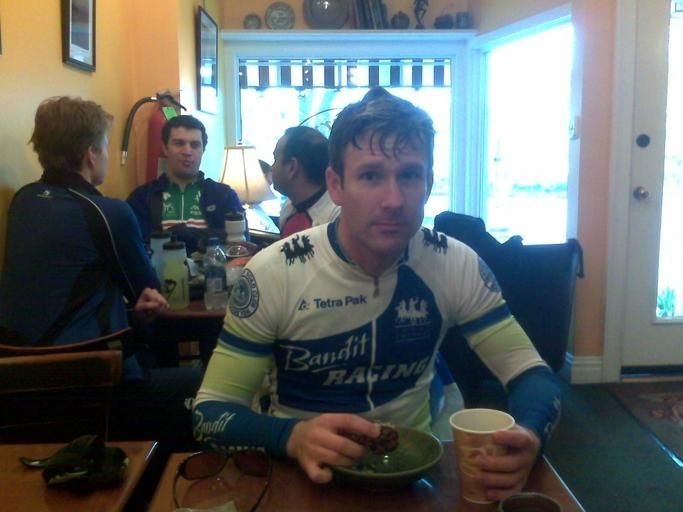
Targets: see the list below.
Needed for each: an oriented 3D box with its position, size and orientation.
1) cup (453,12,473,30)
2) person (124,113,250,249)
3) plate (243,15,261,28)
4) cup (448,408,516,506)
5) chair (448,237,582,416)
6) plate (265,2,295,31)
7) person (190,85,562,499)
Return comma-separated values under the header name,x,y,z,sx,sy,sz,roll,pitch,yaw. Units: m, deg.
name,x,y,z,sx,sy,sz,roll,pitch,yaw
cup,1.050,-2.019,5.001,0.153,0.167,0.131,0,10,13
person,-0.994,-0.353,3.663,0.734,1.040,0.534,-2,2,-26
plate,-0.777,-2.026,5.046,0.119,0.129,0.028,-5,12,-7
cup,0.302,0.450,1.339,0.170,0.202,0.177,0,-7,0
chair,0.925,0.328,3.296,0.818,1.142,0.928,0,-3,4
plate,-0.539,-2.065,5.045,0.237,0.257,0.041,8,8,-2
person,0.154,0.231,1.800,1.145,1.270,0.923,-1,5,-16
